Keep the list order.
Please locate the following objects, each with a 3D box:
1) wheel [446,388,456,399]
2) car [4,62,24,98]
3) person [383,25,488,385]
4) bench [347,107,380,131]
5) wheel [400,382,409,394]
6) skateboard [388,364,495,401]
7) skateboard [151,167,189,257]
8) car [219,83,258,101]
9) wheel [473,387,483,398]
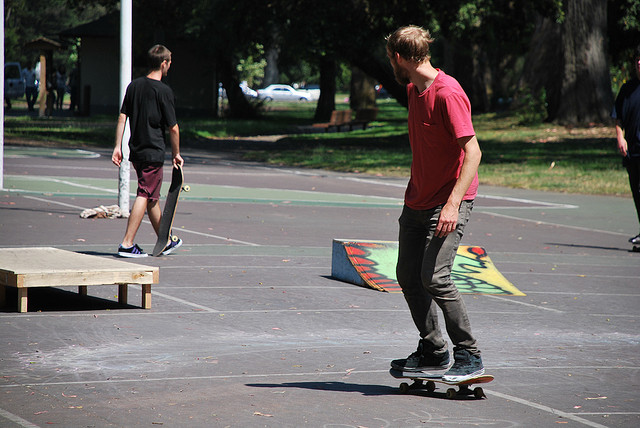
[{"bbox_3d":[1.356,1.819,11.054,0.110,0.090,0.099,-1,8,-39],"label":"wheel"},{"bbox_3d":[-16.067,-6.940,56.450,0.893,1.883,5.531,-2,13,-15],"label":"car"},{"bbox_3d":[1.186,-0.090,10.954,0.789,3.485,1.163,-2,15,-18],"label":"person"},{"bbox_3d":[1.998,-4.035,48.490,1.103,1.117,6.380,3,12,4],"label":"bench"},{"bbox_3d":[0.884,1.781,11.097,0.061,0.111,0.124,1,-2,-17],"label":"wheel"},{"bbox_3d":[1.232,1.704,11.048,1.180,0.184,0.397,1,3,42],"label":"skateboard"},{"bbox_3d":[-2.110,-0.026,15.667,0.264,1.452,0.398,18,-2,-40],"label":"skateboard"},{"bbox_3d":[-4.529,-6.642,59.888,2.250,0.559,1.522,3,6,5],"label":"car"},{"bbox_3d":[1.638,1.810,11.016,0.104,0.084,0.116,-12,-7,19],"label":"wheel"}]
